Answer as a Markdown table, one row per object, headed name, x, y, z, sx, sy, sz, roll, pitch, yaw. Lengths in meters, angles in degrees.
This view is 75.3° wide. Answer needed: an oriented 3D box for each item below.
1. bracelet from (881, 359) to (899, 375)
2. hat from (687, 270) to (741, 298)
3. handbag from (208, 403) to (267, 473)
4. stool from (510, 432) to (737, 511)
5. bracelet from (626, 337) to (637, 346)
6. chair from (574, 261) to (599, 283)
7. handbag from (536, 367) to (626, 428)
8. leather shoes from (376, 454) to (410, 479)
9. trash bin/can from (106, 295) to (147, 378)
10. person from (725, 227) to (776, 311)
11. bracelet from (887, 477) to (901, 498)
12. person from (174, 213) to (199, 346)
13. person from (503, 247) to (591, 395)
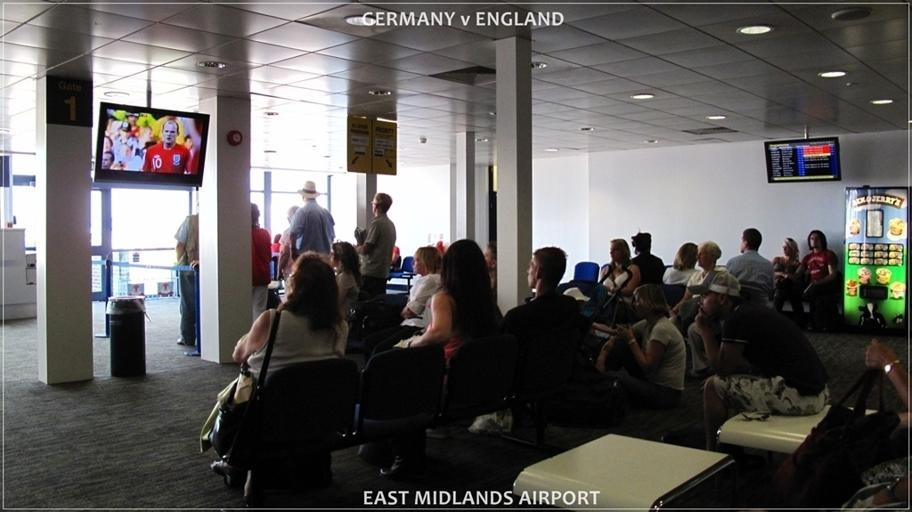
| name | x | y | z | sx | sy | sz | roll | pitch | yaw |
| --- | --- | --- | --- | --- | --- | --- | --- | --- | --- |
| bracelet | 3.301 | 0.847 | 4.488 | 0.156 | 0.098 | 0.046 | -1 | 3 | -18 |
| hat | 2.478 | 0.277 | 5.692 | 0.435 | 0.205 | 0.270 | 5 | 2 | 25 |
| handbag | -1.822 | 1.431 | 4.867 | 0.209 | 0.554 | 0.543 | -4 | 4 | -42 |
| stool | 1.193 | 1.605 | 4.344 | 1.397 | 0.346 | 0.683 | 0 | 3 | 20 |
| bracelet | 2.012 | 0.992 | 6.772 | 0.090 | 0.039 | 0.107 | -1 | 0 | -12 |
| chair | 2.482 | 0.321 | 11.249 | 0.336 | 0.388 | 0.243 | 8 | 11 | 23 |
| handbag | 1.434 | 1.616 | 6.510 | 0.845 | 0.299 | 0.778 | 0 | 2 | -21 |
| leather shoes | -0.557 | 2.002 | 5.598 | 0.390 | 0.138 | 0.136 | 3 | -4 | -34 |
| trash bin/can | -4.604 | 1.131 | 8.264 | 0.421 | 1.088 | 0.386 | -2 | 3 | -27 |
| person | 4.840 | 0.142 | 9.548 | 0.876 | 1.156 | 1.099 | -6 | 9 | 19 |
| bracelet | 3.140 | 1.682 | 4.255 | 0.043 | 0.105 | 0.084 | 4 | -24 | 21 |
| person | -4.415 | 0.425 | 9.692 | 0.347 | 2.185 | 0.842 | -2 | 3 | -26 |
| person | 0.836 | 0.650 | 5.837 | 0.895 | 1.445 | 0.408 | -3 | 4 | -34 |
